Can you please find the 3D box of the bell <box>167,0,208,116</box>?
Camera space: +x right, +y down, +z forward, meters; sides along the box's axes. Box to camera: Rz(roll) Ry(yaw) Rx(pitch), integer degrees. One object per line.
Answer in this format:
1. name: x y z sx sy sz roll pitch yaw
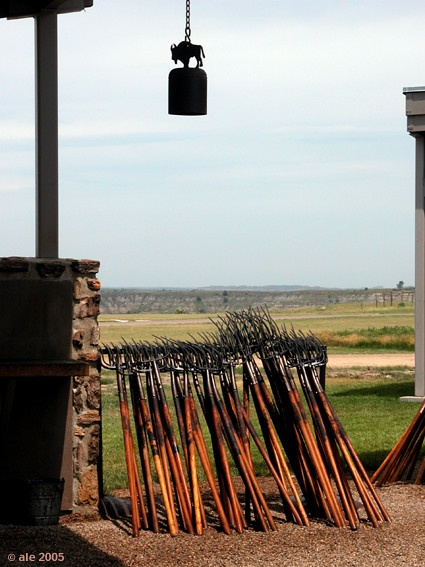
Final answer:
1. bell: -0.179 -1.560 6.478 0.261 0.822 0.757 -1 4 -2
